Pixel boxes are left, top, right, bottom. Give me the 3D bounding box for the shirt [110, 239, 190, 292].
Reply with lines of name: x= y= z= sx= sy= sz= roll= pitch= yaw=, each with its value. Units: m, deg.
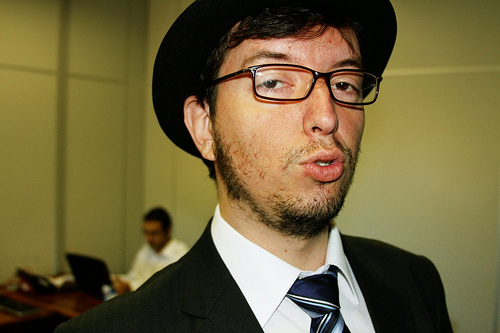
shirt: x=-0.825 y=0.801 z=4.120 sx=0.563 sy=0.394 sz=0.556 roll=8 pitch=6 yaw=-4
